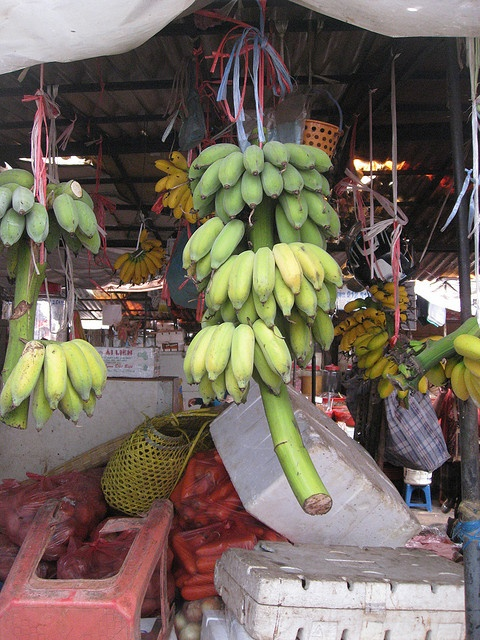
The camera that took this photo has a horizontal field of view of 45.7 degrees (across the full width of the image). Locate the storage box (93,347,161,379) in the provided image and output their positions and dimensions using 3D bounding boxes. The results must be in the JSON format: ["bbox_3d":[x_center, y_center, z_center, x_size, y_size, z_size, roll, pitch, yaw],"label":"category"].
[{"bbox_3d":[-0.555,0.208,2.790,0.264,0.170,0.139,2,-3,1],"label":"storage box"}]
